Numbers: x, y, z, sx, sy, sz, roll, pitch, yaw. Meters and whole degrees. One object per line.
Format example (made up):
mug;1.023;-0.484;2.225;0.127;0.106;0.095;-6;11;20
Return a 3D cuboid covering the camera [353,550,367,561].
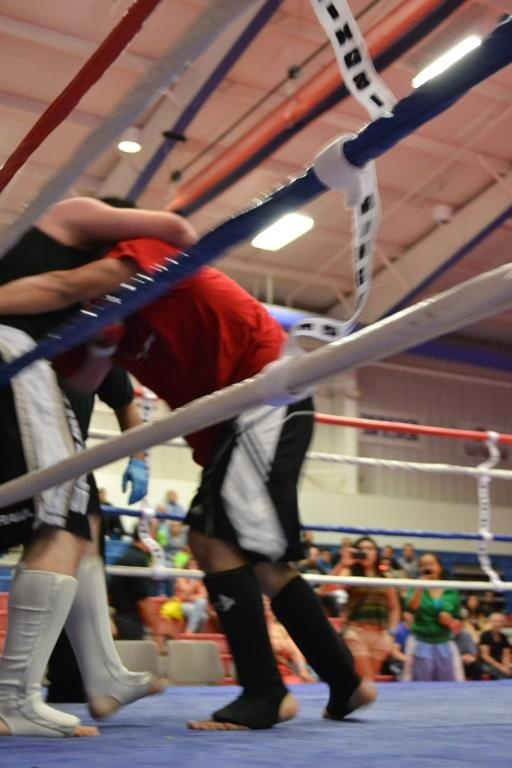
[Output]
camera;0.687;1.147;4.652;0.055;0.090;0.106;26;-31;-37
